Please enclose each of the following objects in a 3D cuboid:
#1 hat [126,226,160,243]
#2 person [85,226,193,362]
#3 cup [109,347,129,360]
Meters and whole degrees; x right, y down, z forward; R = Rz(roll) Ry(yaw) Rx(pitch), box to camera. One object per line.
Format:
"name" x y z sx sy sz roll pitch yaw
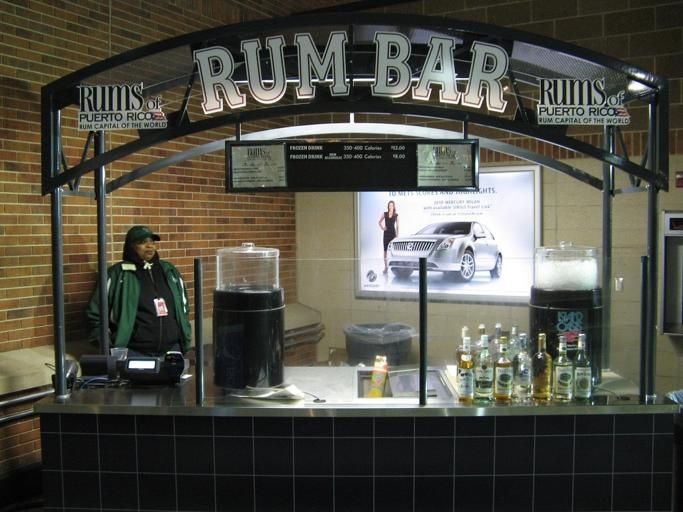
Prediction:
"hat" -1.856 -0.202 6.294 0.244 0.110 0.165 -3 3 15
"person" -1.794 0.313 6.255 0.774 1.180 0.396 -2 2 -45
"cup" -1.576 0.700 4.822 0.111 0.070 0.106 -1 0 0
